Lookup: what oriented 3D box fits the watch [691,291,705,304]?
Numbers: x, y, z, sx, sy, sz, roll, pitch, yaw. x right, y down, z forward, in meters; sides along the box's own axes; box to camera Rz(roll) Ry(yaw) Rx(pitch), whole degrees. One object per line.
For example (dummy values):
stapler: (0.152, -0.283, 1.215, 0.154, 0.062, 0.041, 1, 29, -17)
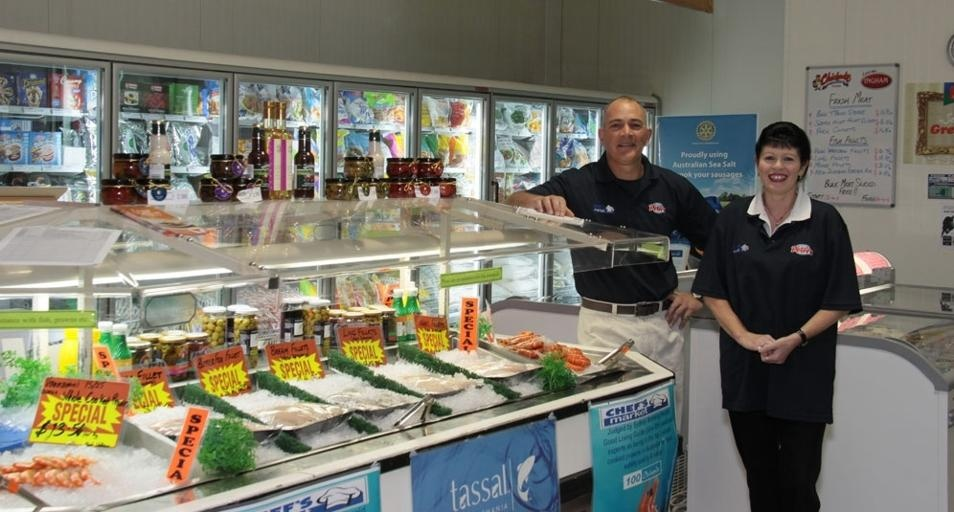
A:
watch: (1.399, 0.269, 3.876, 0.036, 0.095, 0.083, -45, 9, -7)
